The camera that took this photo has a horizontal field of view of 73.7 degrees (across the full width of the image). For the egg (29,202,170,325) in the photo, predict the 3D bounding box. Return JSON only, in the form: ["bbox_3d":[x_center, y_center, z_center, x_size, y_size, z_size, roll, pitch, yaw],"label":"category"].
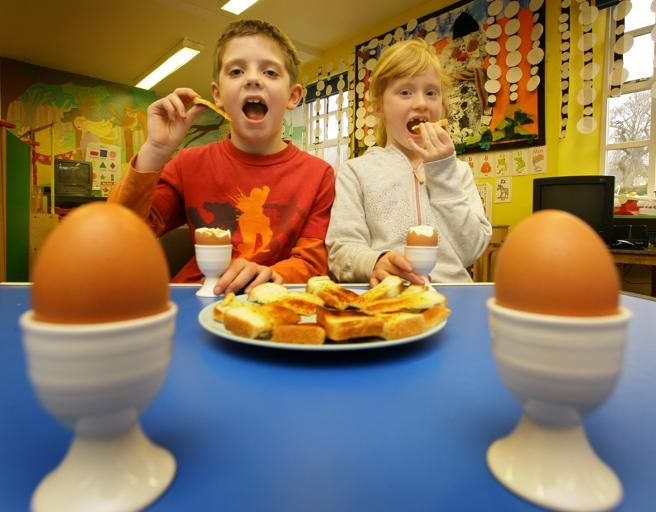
[{"bbox_3d":[-0.166,0.003,0.356,0.078,0.114,0.086,-1,0,-2],"label":"egg"}]

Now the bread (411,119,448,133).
[{"bbox_3d":[0.319,-0.408,1.375,0.073,0.029,0.080,0,8,-3],"label":"bread"}]

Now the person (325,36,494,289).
[{"bbox_3d":[0.266,-0.326,1.431,0.526,0.777,0.597,4,11,22],"label":"person"}]

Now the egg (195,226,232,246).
[{"bbox_3d":[-0.240,-0.046,0.945,0.072,0.033,0.135,0,11,1],"label":"egg"}]

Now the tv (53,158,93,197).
[{"bbox_3d":[-2.183,-0.661,3.724,0.284,0.306,0.274,-7,12,-33],"label":"tv"}]

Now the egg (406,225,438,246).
[{"bbox_3d":[0.196,-0.041,0.910,0.052,0.042,0.057,0,1,1],"label":"egg"}]
